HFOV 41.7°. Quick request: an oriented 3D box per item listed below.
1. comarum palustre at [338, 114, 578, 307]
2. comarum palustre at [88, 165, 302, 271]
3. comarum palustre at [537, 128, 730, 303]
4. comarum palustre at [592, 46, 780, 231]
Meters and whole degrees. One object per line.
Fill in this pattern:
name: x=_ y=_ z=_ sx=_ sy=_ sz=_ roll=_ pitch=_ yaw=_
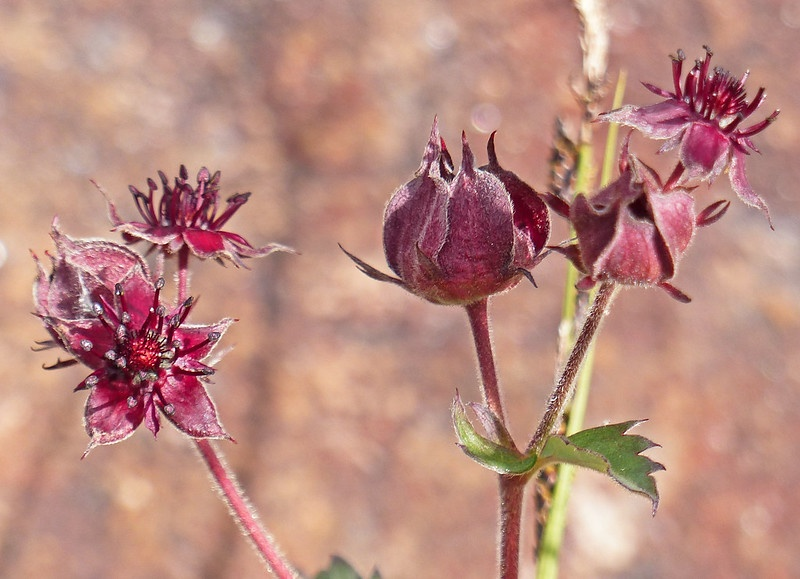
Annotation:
comarum palustre: x=0.144 y=-0.218 z=2.422 sx=0.403 sy=0.410 sz=0.338 roll=-11 pitch=-77 yaw=-6
comarum palustre: x=-0.519 y=-0.190 z=2.549 sx=0.422 sy=0.422 sz=0.183 roll=8 pitch=-93 yaw=-16
comarum palustre: x=0.519 y=-0.139 z=2.322 sx=0.330 sy=0.381 sz=0.246 roll=24 pitch=-41 yaw=31
comarum palustre: x=0.690 y=-0.402 z=2.458 sx=0.418 sy=0.490 sz=0.274 roll=34 pitch=-81 yaw=7
